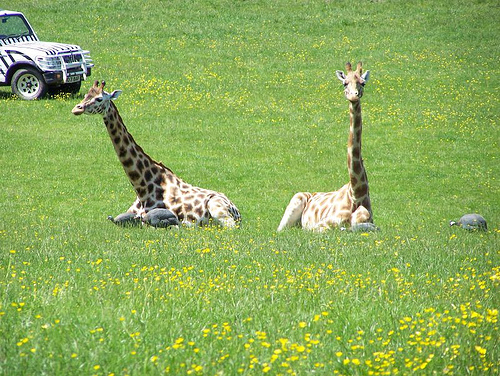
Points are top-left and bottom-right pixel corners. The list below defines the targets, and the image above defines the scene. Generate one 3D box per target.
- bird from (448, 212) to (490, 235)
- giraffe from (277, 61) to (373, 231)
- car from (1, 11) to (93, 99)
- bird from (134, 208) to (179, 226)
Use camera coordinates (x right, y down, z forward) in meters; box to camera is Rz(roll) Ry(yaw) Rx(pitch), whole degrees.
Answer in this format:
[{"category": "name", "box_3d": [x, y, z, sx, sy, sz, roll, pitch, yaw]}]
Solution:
[{"category": "bird", "box_3d": [6.645, 1.008, 30.718, 0.459, 0.369, 0.231, -45, 3, -21]}, {"category": "giraffe", "box_3d": [2.700, -1.301, 30.155, 2.488, 5.450, 1.282, 5, 13, 13]}, {"category": "car", "box_3d": [-9.658, -5.677, 43.763, 3.338, 4.579, 3.702, 13, 25, 37]}, {"category": "bird", "box_3d": [-2.899, 0.958, 30.381, 1.091, 0.487, 0.635, 2, 55, 7]}]
